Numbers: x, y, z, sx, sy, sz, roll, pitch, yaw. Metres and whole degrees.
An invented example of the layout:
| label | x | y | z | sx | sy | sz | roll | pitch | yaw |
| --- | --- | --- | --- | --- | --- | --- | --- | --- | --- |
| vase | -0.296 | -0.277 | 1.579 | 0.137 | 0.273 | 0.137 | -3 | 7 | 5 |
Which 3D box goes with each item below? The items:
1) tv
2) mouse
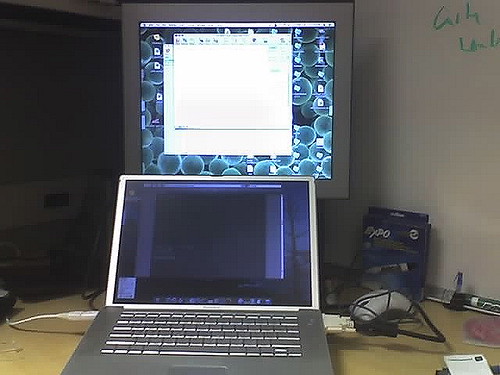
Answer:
| label | x | y | z | sx | sy | sz | roll | pitch | yaw |
| --- | --- | --- | --- | --- | --- | --- | --- | --- | --- |
| tv | -0.021 | -0.253 | 1.267 | 0.530 | 0.454 | 0.052 | 0 | 4 | 1 |
| mouse | 0.335 | 0.306 | 1.182 | 0.160 | 0.093 | 0.107 | 2 | -14 | -3 |
